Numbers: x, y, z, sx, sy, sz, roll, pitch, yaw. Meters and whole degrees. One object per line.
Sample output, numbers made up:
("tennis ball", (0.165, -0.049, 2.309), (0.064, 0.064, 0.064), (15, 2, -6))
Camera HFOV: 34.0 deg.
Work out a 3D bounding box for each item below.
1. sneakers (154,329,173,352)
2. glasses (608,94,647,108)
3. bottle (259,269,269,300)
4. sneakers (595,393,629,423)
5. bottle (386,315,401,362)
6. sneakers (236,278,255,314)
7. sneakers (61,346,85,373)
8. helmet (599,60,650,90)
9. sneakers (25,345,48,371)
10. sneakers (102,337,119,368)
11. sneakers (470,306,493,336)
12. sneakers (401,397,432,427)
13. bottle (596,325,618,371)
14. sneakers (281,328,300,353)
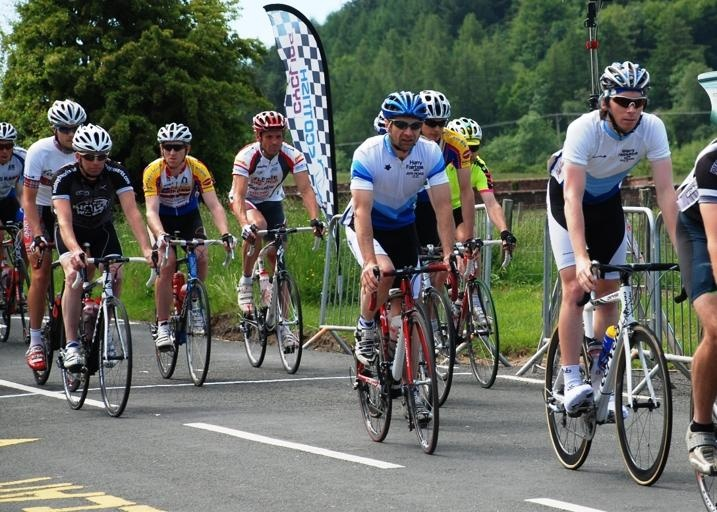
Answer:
("sneakers", (-2.188, 0.959, 13.279), (0.175, 0.213, 0.231), (-2, -2, -5))
("glasses", (2.281, -1.306, 9.725), (0.349, 0.110, 0.205), (-5, 8, -37))
("bottle", (-1.078, 0.326, 14.208), (0.115, 0.355, 0.148), (-9, -13, -20))
("sneakers", (2.066, 1.250, 9.670), (0.131, 0.179, 0.396), (-2, -13, -12))
("bottle", (0.324, 0.696, 10.551), (0.073, 0.308, 0.217), (7, 12, 6))
("sneakers", (-1.381, 0.430, 14.429), (0.159, 0.478, 0.192), (-9, -26, -14))
("sneakers", (-2.890, 1.032, 11.912), (0.137, 0.180, 0.388), (-3, 7, -20))
("helmet", (2.218, -1.527, 9.760), (0.393, 0.246, 0.359), (1, 6, 11))
("sneakers", (-3.601, 1.100, 13.114), (0.156, 0.148, 0.342), (-3, 11, -28))
("sneakers", (-2.435, 0.938, 11.589), (0.180, 0.308, 0.100), (-3, 0, -14))
("sneakers", (1.370, 0.704, 13.066), (0.204, 0.337, 0.079), (-16, -10, 30))
("sneakers", (0.516, 1.374, 10.405), (0.208, 0.215, 0.275), (6, -18, -17))
("bottle", (2.064, 0.755, 9.684), (0.140, 0.525, 0.129), (5, 30, -3))
("sneakers", (-0.796, 0.973, 13.920), (0.188, 0.159, 0.308), (4, -7, -16))
